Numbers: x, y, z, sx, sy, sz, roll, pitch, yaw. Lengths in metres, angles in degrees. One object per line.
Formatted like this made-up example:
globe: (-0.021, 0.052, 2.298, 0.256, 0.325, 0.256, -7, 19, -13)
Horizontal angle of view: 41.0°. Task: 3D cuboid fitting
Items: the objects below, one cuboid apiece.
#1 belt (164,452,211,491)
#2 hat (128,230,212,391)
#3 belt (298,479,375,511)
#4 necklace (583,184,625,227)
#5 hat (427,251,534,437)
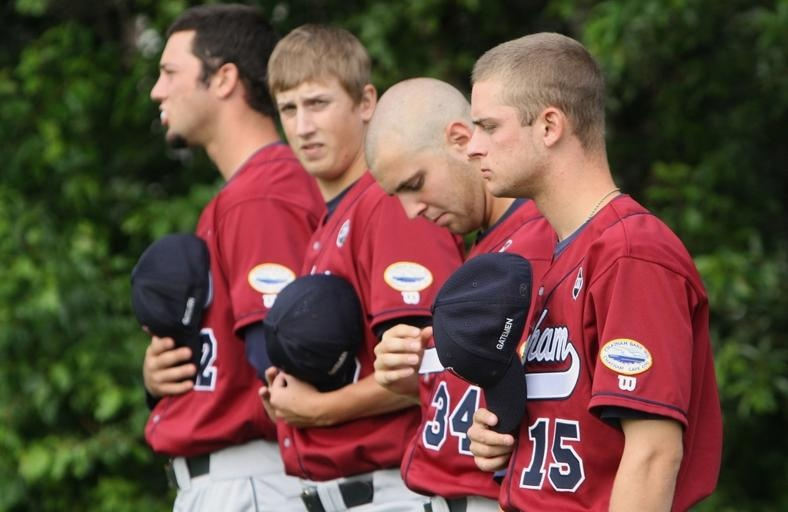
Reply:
belt: (-1.259, 1.306, 6.470, 0.256, 0.119, 0.202, -18, -4, 16)
hat: (-1.312, 0.283, 6.238, 0.491, 1.234, 0.687, 1, -7, -13)
belt: (-0.315, 1.374, 6.064, 0.286, 0.158, 0.228, -7, -1, 12)
necklace: (1.052, -0.269, 5.276, 0.205, 0.047, 0.120, -52, 9, 1)
hat: (0.446, 0.442, 5.220, 0.369, 0.850, 0.487, 2, -10, -29)
